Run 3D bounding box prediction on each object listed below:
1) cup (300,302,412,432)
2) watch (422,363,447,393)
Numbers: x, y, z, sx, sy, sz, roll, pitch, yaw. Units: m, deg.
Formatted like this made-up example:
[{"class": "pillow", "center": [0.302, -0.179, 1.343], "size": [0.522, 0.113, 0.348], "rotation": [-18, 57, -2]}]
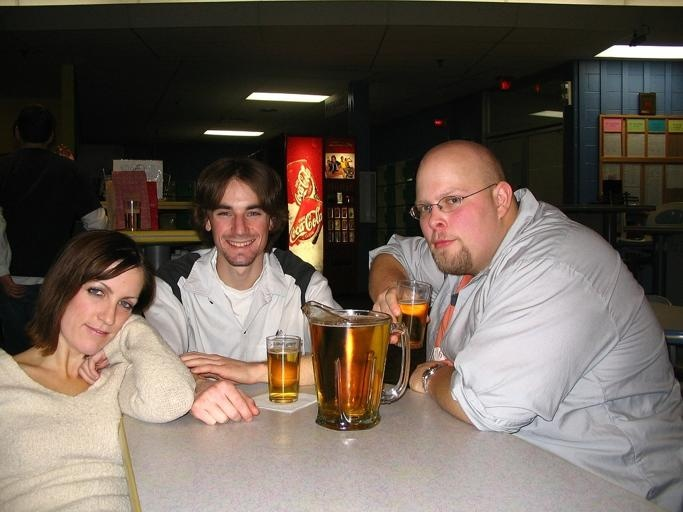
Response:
[{"class": "cup", "center": [0.016, 0.266, 1.291], "size": [0.317, 0.317, 0.215], "rotation": [3, 0, -7]}, {"class": "watch", "center": [0.268, 0.358, 1.564], "size": [0.055, 0.072, 0.026], "rotation": [-1, -11, -1]}]
